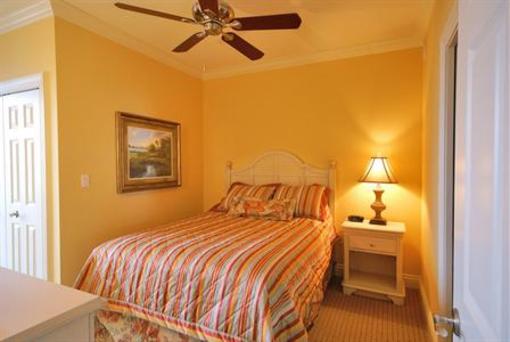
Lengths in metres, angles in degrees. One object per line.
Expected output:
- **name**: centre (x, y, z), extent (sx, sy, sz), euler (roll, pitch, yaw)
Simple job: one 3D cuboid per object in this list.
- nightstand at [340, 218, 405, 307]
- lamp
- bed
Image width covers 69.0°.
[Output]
- **nightstand**: centre (1.447, 1.100, 4.458), extent (0.930, 1.092, 0.598), euler (-1, -1, 31)
- **lamp**: centre (1.542, 0.231, 4.624), extent (0.456, 0.857, 0.394), euler (1, 0, 21)
- **bed**: centre (-0.425, 0.781, 3.967), extent (1.860, 1.616, 2.209), euler (-1, -3, 37)
